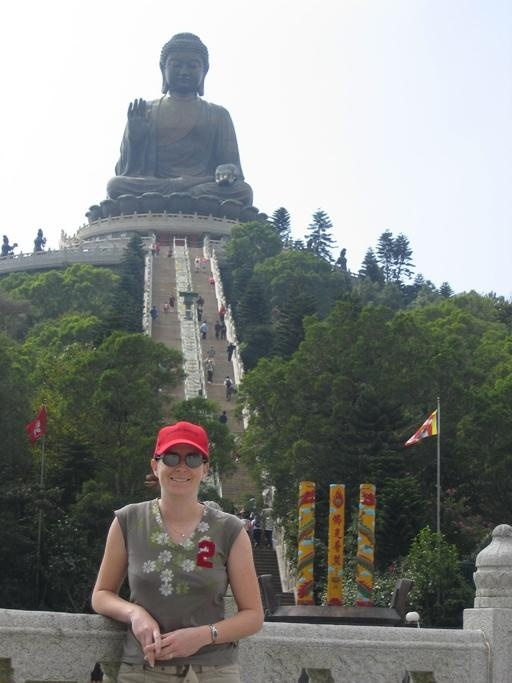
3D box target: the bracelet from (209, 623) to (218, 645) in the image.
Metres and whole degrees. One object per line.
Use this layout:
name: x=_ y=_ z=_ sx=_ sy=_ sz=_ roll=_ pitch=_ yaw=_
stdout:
bracelet: x=-0.267 y=1.677 z=8.851 sx=0.058 sy=0.087 sz=0.094 roll=-3 pitch=15 yaw=-13

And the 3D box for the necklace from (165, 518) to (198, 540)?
necklace: x=-0.473 y=1.097 z=9.031 sx=0.163 sy=0.099 sz=0.048 roll=-2 pitch=8 yaw=3

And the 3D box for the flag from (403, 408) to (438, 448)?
flag: x=3.708 y=1.945 z=34.469 sx=0.104 sy=1.194 sz=1.349 roll=45 pitch=-2 yaw=-6
